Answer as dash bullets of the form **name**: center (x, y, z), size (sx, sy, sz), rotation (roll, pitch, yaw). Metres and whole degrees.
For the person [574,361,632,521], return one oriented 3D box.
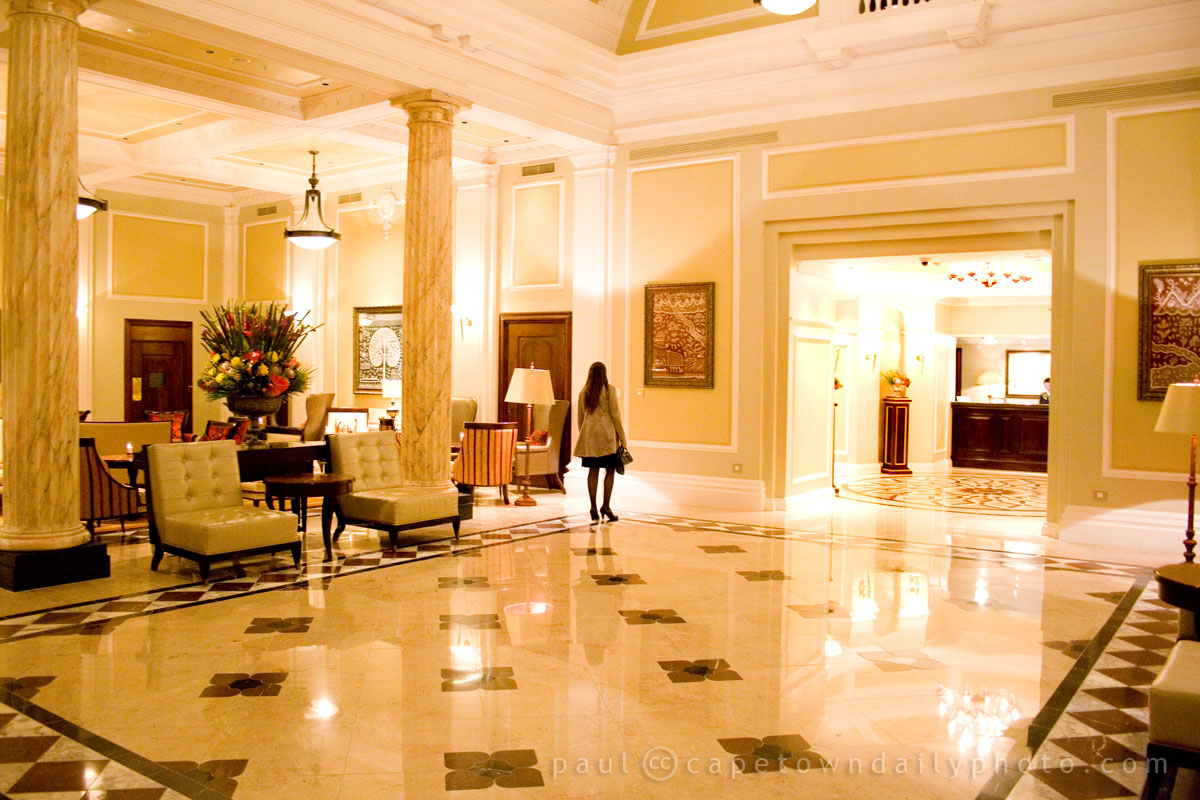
- **person**: center (0.060, 0.501, 10.393), size (0.666, 1.990, 1.081), rotation (1, 9, 1)

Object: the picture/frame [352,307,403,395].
- **picture/frame**: center (-3.738, -0.846, 14.482), size (1.764, 1.622, 0.142), rotation (1, -1, 34)

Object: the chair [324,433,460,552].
- **chair**: center (-2.220, 0.945, 9.247), size (1.345, 1.194, 1.239), rotation (0, -1, 29)

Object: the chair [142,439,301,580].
- **chair**: center (-3.479, 0.972, 7.830), size (0.943, 1.183, 0.957), rotation (8, 11, 40)

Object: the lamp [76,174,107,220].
- **lamp**: center (-7.971, -3.206, 13.267), size (0.278, 0.688, 3.386), rotation (-5, 9, -32)

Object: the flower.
- **flower**: center (-3.662, -0.511, 9.036), size (1.021, 1.003, 0.612), rotation (-2, 9, -18)

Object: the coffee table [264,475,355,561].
- **coffee table**: center (-2.856, 1.093, 8.563), size (0.973, 0.853, 0.973), rotation (-3, -4, 39)

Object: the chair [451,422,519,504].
- **chair**: center (-1.413, 0.730, 10.643), size (0.906, 1.038, 0.904), rotation (0, 2, -20)
